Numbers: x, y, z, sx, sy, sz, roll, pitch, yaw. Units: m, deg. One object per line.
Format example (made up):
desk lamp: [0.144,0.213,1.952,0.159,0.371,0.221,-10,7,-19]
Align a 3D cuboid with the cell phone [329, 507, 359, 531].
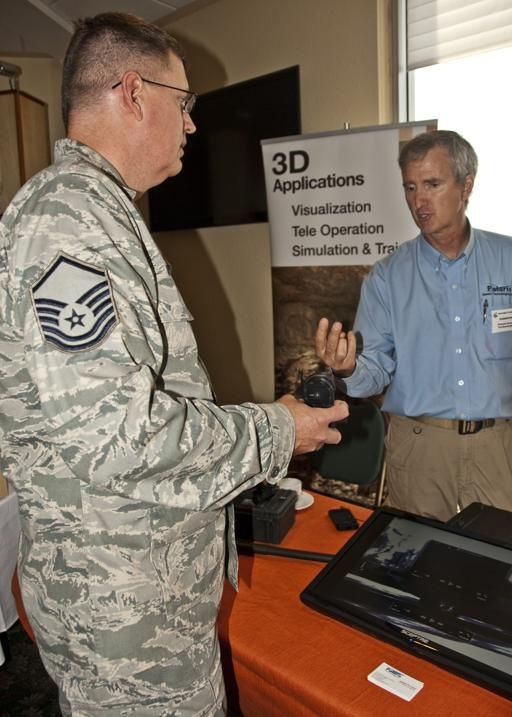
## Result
cell phone: [0.213,0.393,1.476,0.055,0.016,0.099,-1,8,-3]

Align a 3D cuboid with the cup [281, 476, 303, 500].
cup: [0.094,0.346,1.608,0.056,0.035,0.051,2,1,0]

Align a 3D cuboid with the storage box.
storage box: [0.019,0.362,1.420,0.129,0.074,0.127,6,14,31]
